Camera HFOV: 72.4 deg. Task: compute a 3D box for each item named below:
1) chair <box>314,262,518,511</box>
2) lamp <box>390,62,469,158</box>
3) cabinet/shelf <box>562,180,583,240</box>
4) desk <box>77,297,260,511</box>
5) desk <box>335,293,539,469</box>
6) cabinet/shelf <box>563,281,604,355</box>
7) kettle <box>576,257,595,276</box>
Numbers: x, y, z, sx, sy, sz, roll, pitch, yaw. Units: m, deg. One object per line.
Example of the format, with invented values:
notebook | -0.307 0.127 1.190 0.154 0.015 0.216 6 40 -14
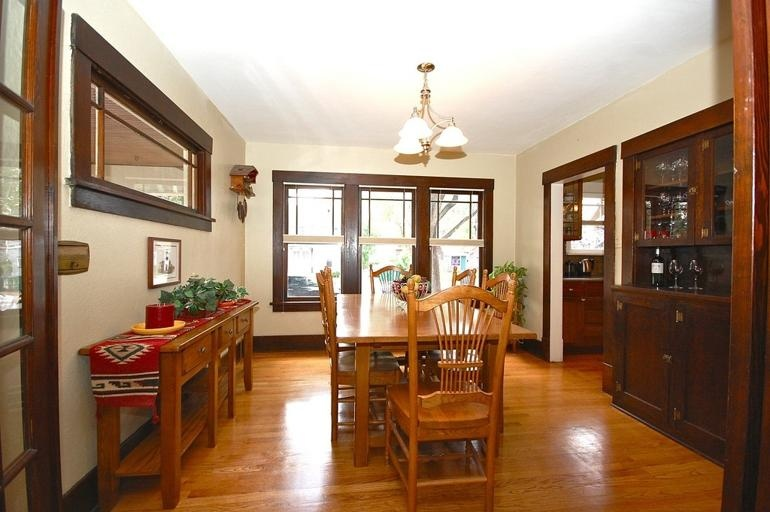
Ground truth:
chair | 0.250 0.916 3.810 1.225 1.123 1.358 -1 -2 -24
lamp | 0.403 -1.229 4.957 0.772 0.775 0.817 -1 -3 -22
cabinet/shelf | 2.335 -0.558 6.595 0.215 0.644 0.309 -2 -1 19
desk | -1.566 1.066 3.687 0.402 0.674 1.381 -1 3 -6
desk | -0.017 0.968 4.368 1.034 0.777 1.597 0 0 -8
cabinet/shelf | 2.389 0.729 6.415 0.503 0.770 0.154 -2 -1 3
kettle | 2.632 0.144 6.900 0.263 0.215 0.138 -2 -1 1
